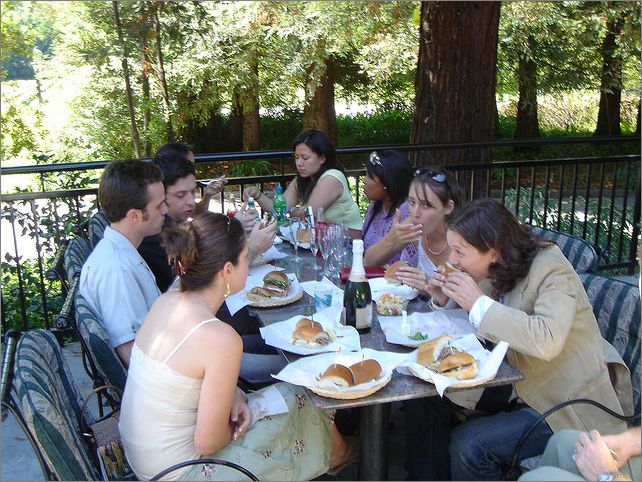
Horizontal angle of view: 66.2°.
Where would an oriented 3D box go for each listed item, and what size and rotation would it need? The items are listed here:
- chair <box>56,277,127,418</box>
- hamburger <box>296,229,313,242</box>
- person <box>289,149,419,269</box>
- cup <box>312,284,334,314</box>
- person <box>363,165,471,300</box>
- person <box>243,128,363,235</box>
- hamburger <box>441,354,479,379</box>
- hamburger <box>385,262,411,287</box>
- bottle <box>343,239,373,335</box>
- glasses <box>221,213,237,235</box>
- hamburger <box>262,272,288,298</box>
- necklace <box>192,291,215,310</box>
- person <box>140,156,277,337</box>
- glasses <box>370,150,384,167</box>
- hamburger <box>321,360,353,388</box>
[{"bbox_3d":[-1.096,0.493,2.479,0.299,0.641,0.348,-6,16,-24],"label":"chair"},{"bbox_3d":[-0.141,-0.043,3.798,0.088,0.104,0.097,1,1,-1],"label":"hamburger"},{"bbox_3d":[0.578,0.194,4.176,0.475,1.867,0.596,-1,10,-8],"label":"person"},{"bbox_3d":[0.009,0.308,2.654,0.103,0.130,0.116,0,5,2],"label":"cup"},{"bbox_3d":[0.624,-0.107,3.224,0.521,0.865,0.520,22,22,31],"label":"person"},{"bbox_3d":[-0.148,-0.226,4.963,1.187,1.712,0.727,-10,13,-27],"label":"person"},{"bbox_3d":[0.599,0.541,2.112,0.163,0.085,0.102,-3,7,3],"label":"hamburger"},{"bbox_3d":[0.465,0.201,3.022,0.135,0.127,0.125,-5,7,-9],"label":"hamburger"},{"bbox_3d":[0.186,0.227,2.512,0.151,0.493,0.156,0,19,0],"label":"bottle"},{"bbox_3d":[-0.403,-0.082,2.156,0.036,0.073,0.049,3,8,4],"label":"glasses"},{"bbox_3d":[-0.270,0.251,2.921,0.118,0.107,0.127,8,12,-5],"label":"hamburger"},{"bbox_3d":[-0.512,0.249,2.168,0.040,0.095,0.072,-37,-8,-47],"label":"necklace"},{"bbox_3d":[-0.826,0.225,3.710,0.797,1.582,0.837,-11,20,-38],"label":"person"},{"bbox_3d":[0.440,-0.679,4.011,0.087,0.048,0.134,-27,33,18],"label":"glasses"},{"bbox_3d":[0.066,0.569,2.065,0.139,0.065,0.089,-4,7,0],"label":"hamburger"}]
